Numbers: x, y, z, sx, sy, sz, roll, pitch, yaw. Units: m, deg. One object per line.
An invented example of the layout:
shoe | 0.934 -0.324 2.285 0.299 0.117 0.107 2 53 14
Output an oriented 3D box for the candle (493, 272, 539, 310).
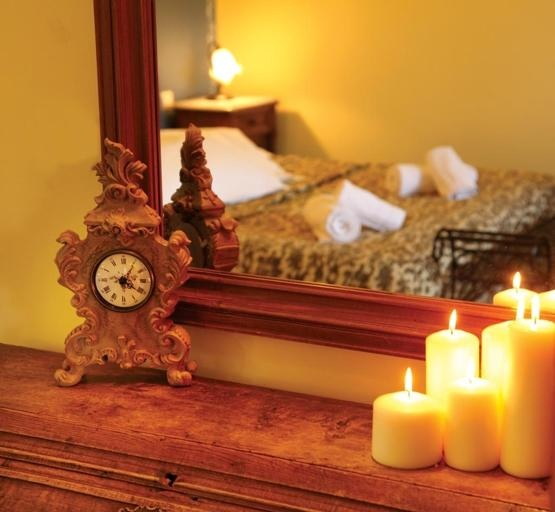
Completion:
candle | 0.361 0.056 0.909 0.060 0.052 0.058 0 10 35

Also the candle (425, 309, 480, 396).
candle | 0.248 0.144 0.835 0.087 0.109 0.077 -5 2 10

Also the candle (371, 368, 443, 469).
candle | 0.179 0.211 0.822 0.110 0.097 0.105 3 9 33

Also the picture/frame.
picture/frame | 0.087 -0.125 0.945 0.768 0.603 0.036 3 14 19
